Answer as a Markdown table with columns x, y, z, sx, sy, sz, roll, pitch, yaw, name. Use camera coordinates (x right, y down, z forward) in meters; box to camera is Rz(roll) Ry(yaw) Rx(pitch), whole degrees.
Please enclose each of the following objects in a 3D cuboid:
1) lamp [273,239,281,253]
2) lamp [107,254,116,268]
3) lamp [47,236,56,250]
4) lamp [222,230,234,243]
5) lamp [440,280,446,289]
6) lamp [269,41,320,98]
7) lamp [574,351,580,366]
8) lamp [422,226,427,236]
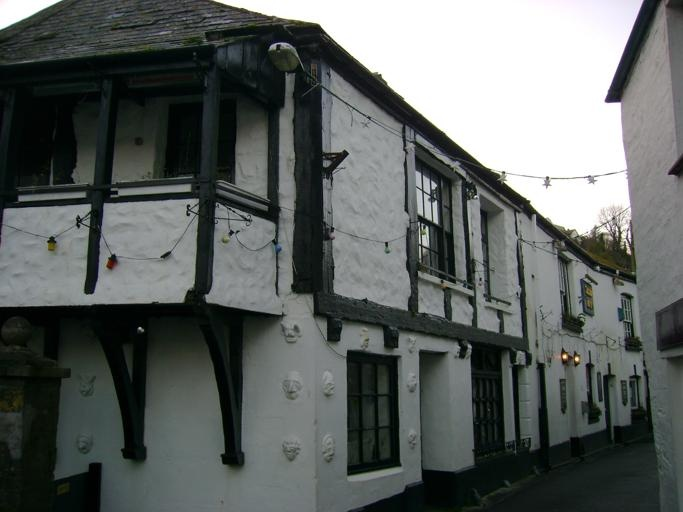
| x | y | z | sx | sy | sz | roll | pitch | yaw | name |
| --- | --- | --- | --- | --- | --- | --- | --- | --- | --- |
| -1.008 | -0.153 | 10.960 | 0.092 | 0.204 | 0.153 | -7 | -18 | 14 | lamp |
| -3.240 | 0.071 | 9.961 | 0.129 | 0.190 | 0.082 | -3 | -17 | 0 | lamp |
| -4.192 | -0.183 | 10.208 | 0.145 | 0.215 | 0.067 | -4 | -17 | 4 | lamp |
| -1.638 | -0.274 | 10.105 | 0.103 | 0.177 | 0.077 | 34 | -38 | -14 | lamp |
| 2.052 | 0.578 | 14.353 | 0.056 | 0.124 | 0.156 | -18 | -16 | 32 | lamp |
| -0.772 | -3.065 | 11.007 | 0.403 | 0.732 | 1.167 | -8 | -19 | 17 | lamp |
| 7.048 | 3.078 | 21.336 | 0.147 | 0.440 | 0.675 | -10 | -19 | 22 | lamp |
| 1.669 | -0.497 | 14.495 | 0.108 | 0.217 | 0.146 | -1 | 7 | 0 | lamp |
